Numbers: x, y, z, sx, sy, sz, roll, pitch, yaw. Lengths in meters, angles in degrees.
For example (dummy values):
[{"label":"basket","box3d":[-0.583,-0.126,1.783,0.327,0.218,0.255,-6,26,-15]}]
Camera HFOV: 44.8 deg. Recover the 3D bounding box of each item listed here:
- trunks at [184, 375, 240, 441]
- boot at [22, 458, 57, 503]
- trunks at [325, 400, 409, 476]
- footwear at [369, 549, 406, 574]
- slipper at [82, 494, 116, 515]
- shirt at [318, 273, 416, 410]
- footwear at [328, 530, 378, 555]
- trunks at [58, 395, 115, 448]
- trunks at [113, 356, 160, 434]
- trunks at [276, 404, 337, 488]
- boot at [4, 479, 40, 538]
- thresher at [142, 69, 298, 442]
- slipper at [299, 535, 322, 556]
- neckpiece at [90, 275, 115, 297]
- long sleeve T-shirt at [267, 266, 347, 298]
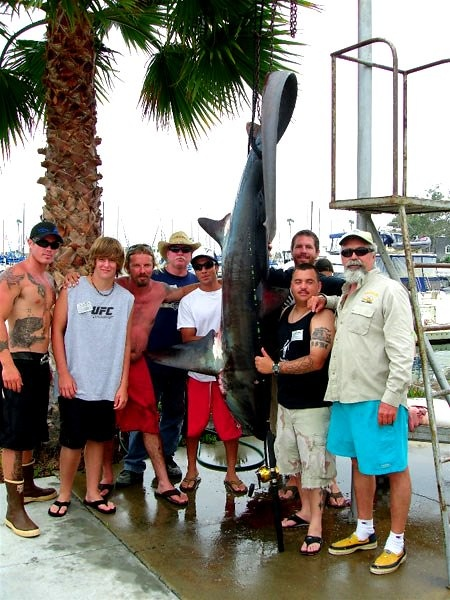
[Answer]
[{"label":"trunks","box3d":[-0.130,0.788,3.743,0.394,0.163,0.474,-4,37,-3]},{"label":"boot","box3d":[-1.218,1.144,3.466,0.214,0.185,0.090,-15,-20,8]},{"label":"trunks","box3d":[0.719,0.646,2.789,0.263,0.347,0.447,-2,0,-27]},{"label":"footwear","box3d":[0.766,1.210,2.552,0.195,0.073,0.072,11,-18,-44]},{"label":"slipper","box3d":[-0.752,1.233,3.315,0.148,0.040,0.079,4,-3,35]},{"label":"shirt","box3d":[0.695,0.216,2.687,0.367,0.590,0.636,9,-15,-17]},{"label":"footwear","box3d":[0.638,1.233,2.809,0.277,0.096,0.088,0,-8,-8]},{"label":"trunks","box3d":[-0.826,0.711,3.257,0.357,0.307,0.202,3,-11,-33]},{"label":"trunks","box3d":[-0.582,0.620,3.700,0.270,0.588,0.227,7,1,5]},{"label":"trunks","box3d":[0.461,0.773,3.094,0.257,0.454,0.375,-1,-2,-34]},{"label":"boot","box3d":[-1.091,1.115,2.955,0.230,0.262,0.098,0,-2,45]},{"label":"thresher","box3d":[0.077,-0.149,2.717,0.870,1.457,0.380,-3,20,-13]},{"label":"slipper","box3d":[0.435,1.236,2.774,0.103,0.080,0.065,1,-2,4]},{"label":"neckpiece","box3d":[-0.747,-0.086,3.300,0.118,0.144,0.085,1,12,-7]},{"label":"long sleeve T-shirt","box3d":[0.459,-0.096,3.138,0.322,0.150,0.510,3,0,1]}]
